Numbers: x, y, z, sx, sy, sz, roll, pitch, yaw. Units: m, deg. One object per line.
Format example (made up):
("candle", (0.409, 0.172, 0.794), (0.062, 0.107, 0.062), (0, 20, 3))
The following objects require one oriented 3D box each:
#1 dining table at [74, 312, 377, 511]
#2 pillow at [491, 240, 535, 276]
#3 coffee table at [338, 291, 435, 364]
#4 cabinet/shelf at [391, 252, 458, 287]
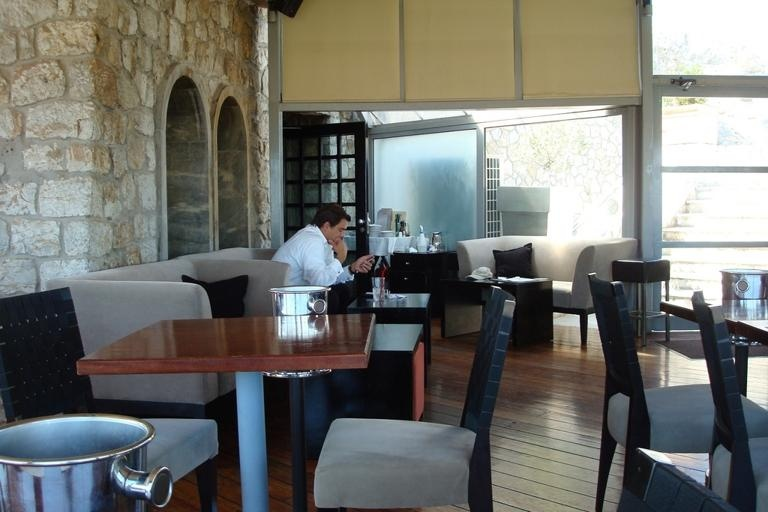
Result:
("dining table", (-0.536, 0.446, 2.336), (0.867, 0.886, 0.898), (0, 10, 3))
("pillow", (1.462, 0.042, 6.547), (0.374, 0.392, 0.145), (-2, -37, 6))
("coffee table", (0.106, 0.678, 4.587), (0.837, 0.433, 0.481), (2, 13, 12))
("cabinet/shelf", (0.452, 0.217, 6.829), (0.575, 0.606, 0.475), (-3, -4, 34))
